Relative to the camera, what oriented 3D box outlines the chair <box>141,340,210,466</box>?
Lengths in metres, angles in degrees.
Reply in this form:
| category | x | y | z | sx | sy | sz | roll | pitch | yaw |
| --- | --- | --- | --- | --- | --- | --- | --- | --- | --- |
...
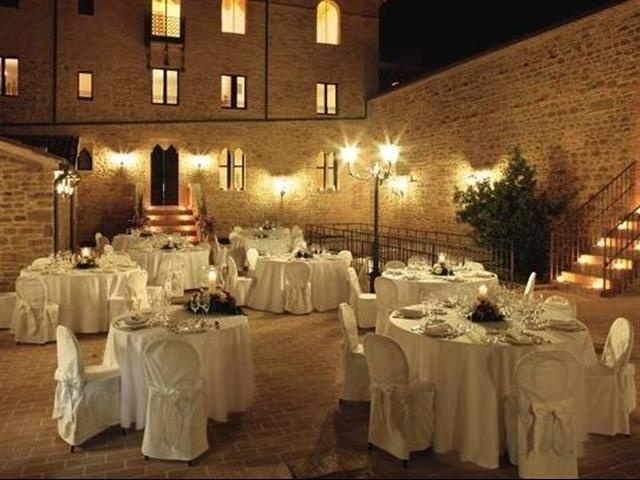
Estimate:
| category | x | y | z | sx | sy | sz | roll | pitch | yaw |
| --- | --- | --- | --- | --- | --- | --- | --- | --- | --- |
| chair | -1.345 | 1.443 | 4.827 | 0.537 | 1.143 | 0.254 | 1 | 12 | 7 |

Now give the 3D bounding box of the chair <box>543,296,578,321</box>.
| category | x | y | z | sx | sy | sz | roll | pitch | yaw |
| --- | --- | --- | --- | --- | --- | --- | --- | --- | --- |
| chair | 2.816 | 0.791 | 6.138 | 0.339 | 0.227 | 0.472 | -1 | 14 | -3 |

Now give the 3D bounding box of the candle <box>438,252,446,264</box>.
| category | x | y | z | sx | sy | sz | roll | pitch | yaw |
| --- | --- | --- | --- | --- | --- | --- | --- | --- | --- |
| candle | 2.113 | 0.311 | 9.236 | 0.122 | 0.144 | 0.111 | -8 | 19 | -17 |

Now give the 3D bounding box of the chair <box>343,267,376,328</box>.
| category | x | y | z | sx | sy | sz | roll | pitch | yaw |
| --- | --- | --- | --- | --- | --- | --- | --- | --- | --- |
| chair | 0.699 | 0.943 | 9.331 | 0.791 | 1.235 | 0.828 | 0 | 9 | 6 |

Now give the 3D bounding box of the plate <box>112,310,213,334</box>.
| category | x | y | z | sx | sy | sz | roll | pitch | yaw |
| --- | --- | --- | --- | --- | --- | --- | --- | --- | --- |
| plate | -1.607 | 0.832 | 5.582 | 1.155 | 0.120 | 0.603 | 1 | 12 | 6 |

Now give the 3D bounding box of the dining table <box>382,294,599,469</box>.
| category | x | y | z | sx | sy | sz | roll | pitch | yaw |
| --- | --- | --- | --- | --- | --- | --- | --- | --- | --- |
| dining table | 1.356 | 1.315 | 5.166 | 1.297 | 0.700 | 1.335 | 2 | -1 | -2 |

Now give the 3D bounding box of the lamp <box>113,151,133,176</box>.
| category | x | y | z | sx | sy | sz | roll | pitch | yaw |
| --- | --- | --- | --- | --- | --- | --- | --- | --- | --- |
| lamp | -6.504 | -2.569 | 17.599 | 0.658 | 0.487 | 0.568 | -7 | 12 | -40 |

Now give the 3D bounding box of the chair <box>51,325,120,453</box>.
| category | x | y | z | sx | sy | sz | roll | pitch | yaw |
| --- | --- | --- | --- | --- | --- | --- | --- | --- | --- |
| chair | -2.282 | 1.372 | 5.196 | 0.610 | 1.165 | 0.476 | -11 | 16 | -41 |

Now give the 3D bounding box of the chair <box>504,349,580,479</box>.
| category | x | y | z | sx | sy | sz | roll | pitch | yaw |
| --- | --- | --- | --- | --- | --- | --- | --- | --- | --- |
| chair | 1.931 | 1.479 | 4.497 | 0.525 | 1.075 | 0.254 | -1 | 12 | -3 |

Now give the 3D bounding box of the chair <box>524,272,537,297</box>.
| category | x | y | z | sx | sy | sz | roll | pitch | yaw |
| --- | --- | --- | --- | --- | --- | --- | --- | --- | --- |
| chair | 3.571 | 0.757 | 9.016 | 0.199 | 0.256 | 0.832 | 21 | 9 | 19 |

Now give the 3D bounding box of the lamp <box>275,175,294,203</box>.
| category | x | y | z | sx | sy | sz | roll | pitch | yaw |
| --- | --- | --- | --- | --- | --- | --- | --- | --- | --- |
| lamp | -1.355 | -1.905 | 19.640 | 0.739 | 0.887 | 0.209 | 6 | 6 | -14 |

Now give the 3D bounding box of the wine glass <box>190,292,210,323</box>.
| category | x | y | z | sx | sy | sz | roll | pitch | yaw |
| --- | --- | --- | --- | --- | --- | --- | --- | --- | --- |
| wine glass | -1.337 | 0.710 | 5.896 | 0.241 | 0.383 | 0.233 | -6 | 20 | -18 |
